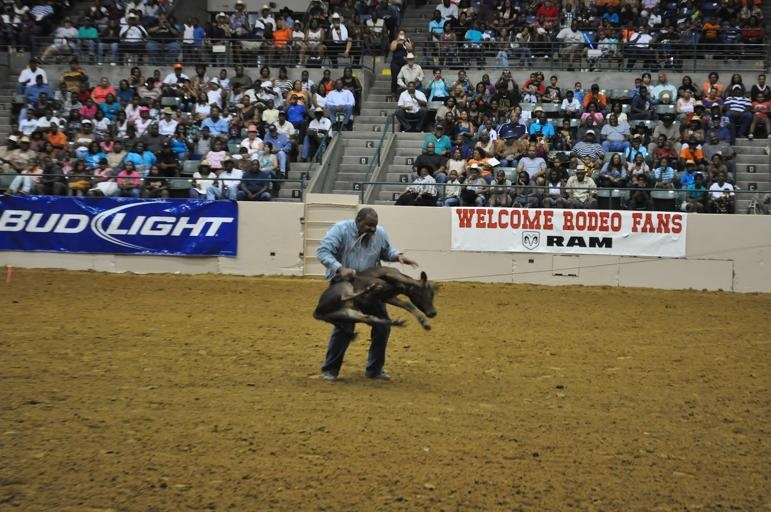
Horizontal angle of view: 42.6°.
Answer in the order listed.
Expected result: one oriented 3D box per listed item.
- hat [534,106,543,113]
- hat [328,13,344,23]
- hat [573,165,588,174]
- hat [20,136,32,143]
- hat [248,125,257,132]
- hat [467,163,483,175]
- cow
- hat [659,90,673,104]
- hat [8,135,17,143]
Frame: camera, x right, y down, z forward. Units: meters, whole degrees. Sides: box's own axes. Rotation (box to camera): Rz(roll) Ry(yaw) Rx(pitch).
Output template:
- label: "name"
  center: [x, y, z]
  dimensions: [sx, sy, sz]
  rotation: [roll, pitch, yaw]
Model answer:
- label: "hat"
  center: [5.532, -5.341, 35.942]
  dimensions: [0.284, 0.115, 0.272]
  rotation: [3, -2, 12]
- label: "hat"
  center: [-2.025, -9.736, 40.014]
  dimensions: [0.633, 0.252, 0.680]
  rotation: [0, -9, -3]
- label: "hat"
  center: [6.519, -2.913, 33.056]
  dimensions: [0.371, 0.329, 0.560]
  rotation: [4, 4, 11]
- label: "hat"
  center: [-12.808, -4.156, 35.180]
  dimensions: [0.340, 0.228, 0.323]
  rotation: [-1, 4, -2]
- label: "hat"
  center: [-4.710, -4.525, 34.869]
  dimensions: [0.267, 0.289, 0.425]
  rotation: [2, 4, -9]
- label: "hat"
  center: [2.984, -2.938, 33.315]
  dimensions: [0.363, 0.366, 0.159]
  rotation: [5, 43, 7]
- label: "cow"
  center: [-0.273, 1.134, 23.399]
  dimensions: [3.488, 1.888, 1.293]
  rotation: [-2, -14, -7]
- label: "hat"
  center: [10.387, -5.875, 36.580]
  dimensions: [0.498, 0.566, 0.381]
  rotation: [1, 4, -20]
- label: "hat"
  center: [-13.547, -4.276, 35.985]
  dimensions: [0.370, 0.214, 0.347]
  rotation: [0, 10, -20]
